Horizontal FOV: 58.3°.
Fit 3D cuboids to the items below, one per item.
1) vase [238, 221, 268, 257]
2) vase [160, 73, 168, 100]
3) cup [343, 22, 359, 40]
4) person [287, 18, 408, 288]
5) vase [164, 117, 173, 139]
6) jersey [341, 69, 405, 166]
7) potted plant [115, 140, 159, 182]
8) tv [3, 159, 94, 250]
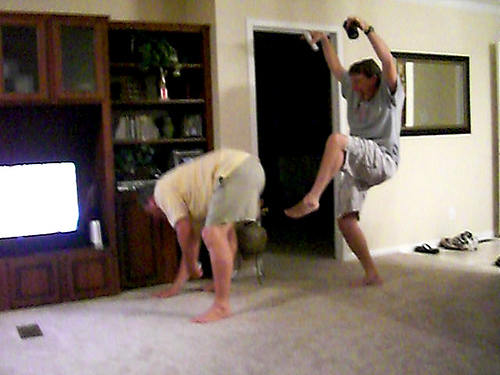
[{"bbox_3d":[0.021,0.265,2.282,0.167,0.209,0.141,-2,2,22],"label":"vase"},{"bbox_3d":[-0.469,-0.545,2.420,0.037,0.143,0.053,-4,8,-14],"label":"vase"},{"bbox_3d":[0.390,-0.603,1.728,0.046,0.064,0.096,-3,9,2],"label":"cup"},{"bbox_3d":[0.386,-0.174,1.872,0.405,1.169,0.429,3,-6,30],"label":"person"},{"bbox_3d":[-0.453,-0.332,2.472,0.049,0.113,0.043,-4,7,-11],"label":"vase"},{"bbox_3d":[0.466,-0.315,1.838,0.212,0.472,0.241,7,-3,-42],"label":"jersey"},{"bbox_3d":[-0.621,-0.122,2.440,0.194,0.249,0.182,0,-3,-43],"label":"potted plant"},{"bbox_3d":[-0.988,0.099,2.159,0.324,0.292,0.015,-5,3,-9],"label":"tv"}]
